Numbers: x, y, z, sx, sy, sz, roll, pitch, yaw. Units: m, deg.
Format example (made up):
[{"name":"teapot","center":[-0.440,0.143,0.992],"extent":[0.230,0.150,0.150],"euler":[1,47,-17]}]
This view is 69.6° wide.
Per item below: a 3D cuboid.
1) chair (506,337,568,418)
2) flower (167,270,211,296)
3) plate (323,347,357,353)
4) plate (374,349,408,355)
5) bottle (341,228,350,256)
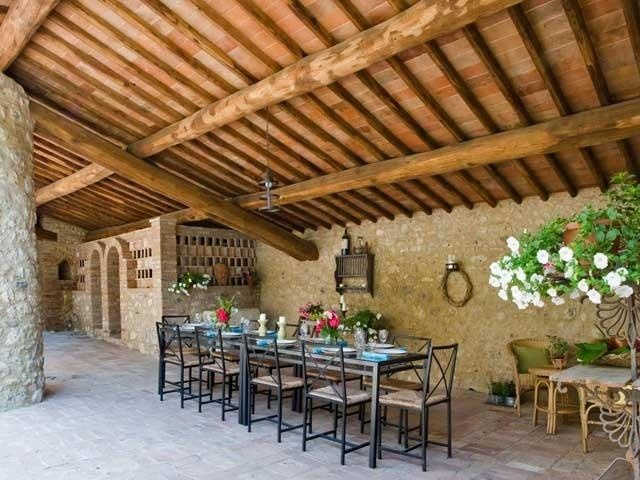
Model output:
[{"name":"chair","center":[2.630,1.720,6.136],"extent":[1.027,0.989,0.871],"euler":[0,-15,2]},{"name":"flower","center":[-2.688,0.859,9.355],"extent":[0.574,0.300,0.659],"euler":[-3,-4,44]},{"name":"plate","center":[0.175,1.123,4.709],"extent":[0.163,0.017,0.159],"euler":[-4,-6,36]},{"name":"plate","center":[0.695,1.123,4.690],"extent":[0.317,0.032,0.268],"euler":[1,-3,-17]},{"name":"bottle","center":[0.461,0.022,8.534],"extent":[0.161,0.527,0.274],"euler":[1,-3,1]}]
